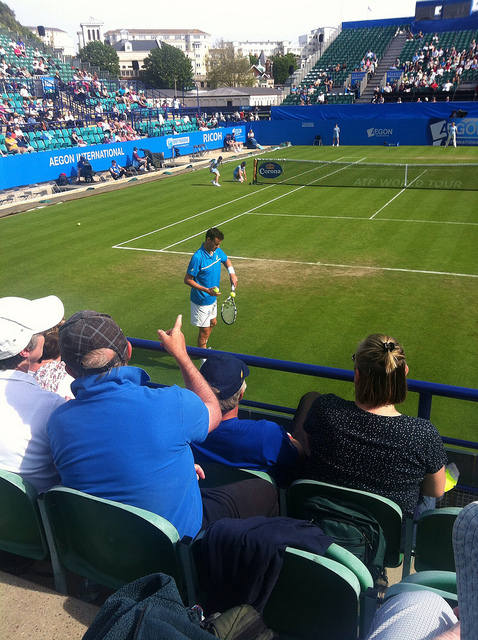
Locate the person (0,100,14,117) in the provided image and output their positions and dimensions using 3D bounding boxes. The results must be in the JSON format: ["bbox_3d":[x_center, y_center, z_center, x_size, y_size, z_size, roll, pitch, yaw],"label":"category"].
[{"bbox_3d":[-14.514,-13.198,31.718,0.587,1.156,3.751,-14,23,-19],"label":"person"}]

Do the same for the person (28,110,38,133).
[{"bbox_3d":[-12.751,-12.208,31.320,0.535,1.134,2.567,-13,23,-17],"label":"person"}]

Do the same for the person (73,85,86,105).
[{"bbox_3d":[-12.058,-16.812,38.233,0.757,1.193,0.967,-10,23,-11],"label":"person"}]

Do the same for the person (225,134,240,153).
[{"bbox_3d":[-0.527,-12.876,37.019,0.992,1.141,0.625,-5,23,1],"label":"person"}]

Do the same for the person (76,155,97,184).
[{"bbox_3d":[-7.900,-7.691,26.041,0.912,1.501,0.674,-17,53,-23],"label":"person"}]

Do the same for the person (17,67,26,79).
[{"bbox_3d":[-16.300,-18.372,37.765,0.469,0.782,2.059,-13,23,-18],"label":"person"}]

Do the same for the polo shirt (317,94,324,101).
[{"bbox_3d":[7.034,-18.958,43.398,0.785,0.508,0.945,-2,13,10],"label":"polo shirt"}]

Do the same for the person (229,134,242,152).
[{"bbox_3d":[-0.341,-12.970,37.223,0.252,1.238,0.365,-13,62,14],"label":"person"}]

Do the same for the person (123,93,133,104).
[{"bbox_3d":[-9.832,-19.364,44.458,0.425,1.240,0.704,-20,5,-36],"label":"person"}]

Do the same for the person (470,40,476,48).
[{"bbox_3d":[20.492,-24.023,44.300,0.506,0.325,0.823,2,55,30],"label":"person"}]

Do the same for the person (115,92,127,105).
[{"bbox_3d":[-10.111,-18.755,43.325,1.049,1.254,0.592,-11,-22,-12],"label":"person"}]

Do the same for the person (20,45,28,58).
[{"bbox_3d":[-17.057,-21.119,40.155,0.371,1.090,0.344,-20,2,36],"label":"person"}]

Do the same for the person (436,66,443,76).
[{"bbox_3d":[16.549,-20.468,41.799,0.657,0.813,0.314,3,6,-17],"label":"person"}]

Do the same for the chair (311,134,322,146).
[{"bbox_3d":[5.925,-13.527,38.307,0.785,1.041,0.785,4,22,8],"label":"chair"}]

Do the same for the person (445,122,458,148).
[{"bbox_3d":[14.050,-12.272,33.674,0.621,1.403,0.372,2,24,18],"label":"person"}]

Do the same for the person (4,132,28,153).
[{"bbox_3d":[-12.038,-9.375,27.215,0.951,0.761,1.669,-14,23,-20],"label":"person"}]

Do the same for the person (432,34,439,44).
[{"bbox_3d":[17.783,-25.365,46.027,0.541,0.854,1.267,3,23,18],"label":"person"}]

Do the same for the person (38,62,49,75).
[{"bbox_3d":[-15.651,-19.898,40.268,0.531,0.979,1.246,-12,23,-15],"label":"person"}]

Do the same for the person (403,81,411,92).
[{"bbox_3d":[13.546,-18.785,40.956,0.728,0.958,0.287,3,11,1],"label":"person"}]

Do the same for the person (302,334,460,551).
[{"bbox_3d":[0.668,0.464,2.866,0.813,1.086,1.082,8,23,22],"label":"person"}]

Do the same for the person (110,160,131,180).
[{"bbox_3d":[-6.662,-8.159,27.541,0.913,0.931,1.353,1,23,14],"label":"person"}]

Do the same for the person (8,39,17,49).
[{"bbox_3d":[-17.729,-21.519,39.716,0.514,0.751,1.294,-9,22,-8],"label":"person"}]

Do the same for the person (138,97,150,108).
[{"bbox_3d":[-8.834,-19.647,45.912,0.649,0.847,1.220,-8,22,-7],"label":"person"}]

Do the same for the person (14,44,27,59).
[{"bbox_3d":[-17.237,-20.916,39.654,0.644,1.136,0.989,-2,23,8],"label":"person"}]

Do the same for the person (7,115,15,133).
[{"bbox_3d":[-13.400,-11.638,29.747,0.419,0.701,1.900,-13,23,-19],"label":"person"}]

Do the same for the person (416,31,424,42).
[{"bbox_3d":[16.712,-26.118,46.998,0.655,0.921,1.604,3,23,19],"label":"person"}]

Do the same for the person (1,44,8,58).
[{"bbox_3d":[-17.693,-20.111,38.087,0.339,0.888,1.197,-11,23,-12],"label":"person"}]

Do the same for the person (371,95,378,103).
[{"bbox_3d":[10.606,-17.408,40.002,0.431,0.511,1.046,-7,22,-5],"label":"person"}]

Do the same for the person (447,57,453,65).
[{"bbox_3d":[17.738,-21.639,42.566,0.655,0.781,0.225,-8,11,-40],"label":"person"}]

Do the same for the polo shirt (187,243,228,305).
[{"bbox_3d":[-0.557,-0.797,8.601,0.482,0.968,0.666,0,23,14],"label":"polo shirt"}]

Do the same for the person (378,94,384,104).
[{"bbox_3d":[11.131,-17.367,39.843,0.274,0.555,0.858,6,24,25],"label":"person"}]

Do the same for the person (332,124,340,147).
[{"bbox_3d":[7.070,-13.495,37.137,0.485,1.463,0.714,-2,23,9],"label":"person"}]

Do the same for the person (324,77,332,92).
[{"bbox_3d":[7.902,-20.961,45.348,0.642,1.239,2.086,-1,22,10],"label":"person"}]

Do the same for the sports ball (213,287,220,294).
[{"bbox_3d":[-0.392,-0.512,8.591,0.088,0.111,0.118,-13,-11,33],"label":"sports ball"}]

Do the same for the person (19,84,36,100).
[{"bbox_3d":[-14.819,-15.861,35.349,0.610,1.048,1.719,-6,22,-1],"label":"person"}]

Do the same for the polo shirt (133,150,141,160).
[{"bbox_3d":[-5.876,-9.346,29.215,0.397,0.573,0.677,-6,36,-3],"label":"polo shirt"}]

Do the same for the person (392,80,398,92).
[{"bbox_3d":[12.870,-19.311,41.932,0.292,0.922,2.730,3,23,20],"label":"person"}]

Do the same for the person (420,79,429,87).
[{"bbox_3d":[14.855,-18.861,40.537,0.673,0.602,0.778,10,26,32],"label":"person"}]
